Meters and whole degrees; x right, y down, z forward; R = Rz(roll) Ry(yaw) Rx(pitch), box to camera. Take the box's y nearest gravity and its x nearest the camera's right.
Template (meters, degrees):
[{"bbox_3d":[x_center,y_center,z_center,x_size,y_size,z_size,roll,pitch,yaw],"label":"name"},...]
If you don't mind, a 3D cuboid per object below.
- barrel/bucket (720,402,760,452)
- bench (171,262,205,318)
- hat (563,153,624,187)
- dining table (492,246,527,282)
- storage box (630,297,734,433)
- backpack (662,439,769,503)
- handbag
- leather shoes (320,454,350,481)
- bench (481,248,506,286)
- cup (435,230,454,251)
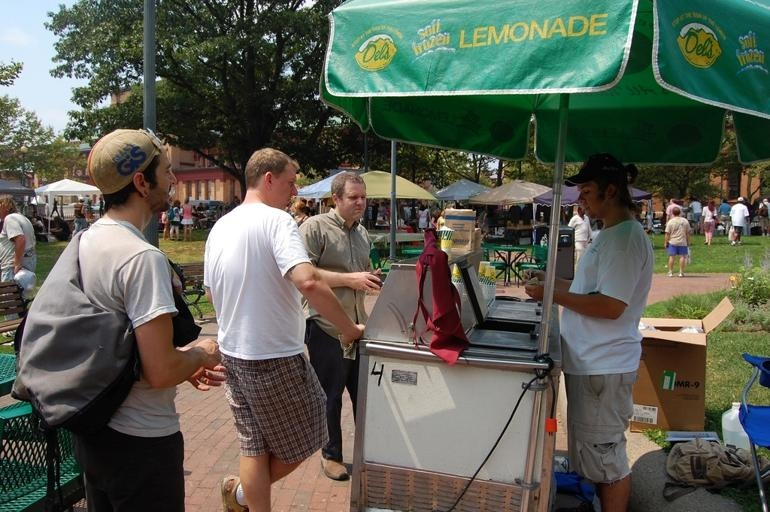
[{"bbox_3d":[2.937,1.365,5.029,0.193,0.364,0.203,-11,7,1],"label":"barrel/bucket"},{"bbox_3d":[-3.605,0.465,11.391,0.392,0.546,1.234,16,-3,0],"label":"bench"},{"bbox_3d":[1.514,-0.592,4.255,0.413,0.232,0.274,3,-8,21],"label":"hat"},{"bbox_3d":[3.055,0.187,15.008,0.759,0.766,0.751,-8,13,-28],"label":"dining table"},{"bbox_3d":[2.683,1.074,5.722,1.041,1.076,1.022,0,0,31],"label":"storage box"},{"bbox_3d":[2.402,1.536,4.453,0.558,0.216,0.463,-1,0,7],"label":"backpack"},{"bbox_3d":[-1.465,0.339,3.245,0.897,0.956,0.598,5,6,-15],"label":"handbag"},{"bbox_3d":[-0.435,1.819,5.196,0.114,0.119,0.285,2,-5,-28],"label":"leather shoes"},{"bbox_3d":[2.948,0.207,15.669,0.708,0.891,0.710,-13,-3,31],"label":"bench"},{"bbox_3d":[0.474,-0.130,4.797,0.163,0.187,0.146,0,-9,7],"label":"cup"}]
